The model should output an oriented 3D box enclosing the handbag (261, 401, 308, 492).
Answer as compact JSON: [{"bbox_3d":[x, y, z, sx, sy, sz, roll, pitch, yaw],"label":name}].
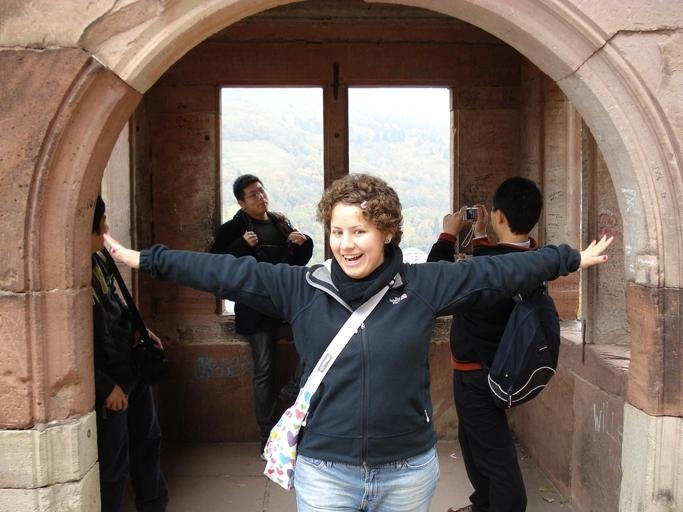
[{"bbox_3d":[-0.217,0.855,2.708,0.236,0.368,0.093,3,-9,40],"label":"handbag"}]
